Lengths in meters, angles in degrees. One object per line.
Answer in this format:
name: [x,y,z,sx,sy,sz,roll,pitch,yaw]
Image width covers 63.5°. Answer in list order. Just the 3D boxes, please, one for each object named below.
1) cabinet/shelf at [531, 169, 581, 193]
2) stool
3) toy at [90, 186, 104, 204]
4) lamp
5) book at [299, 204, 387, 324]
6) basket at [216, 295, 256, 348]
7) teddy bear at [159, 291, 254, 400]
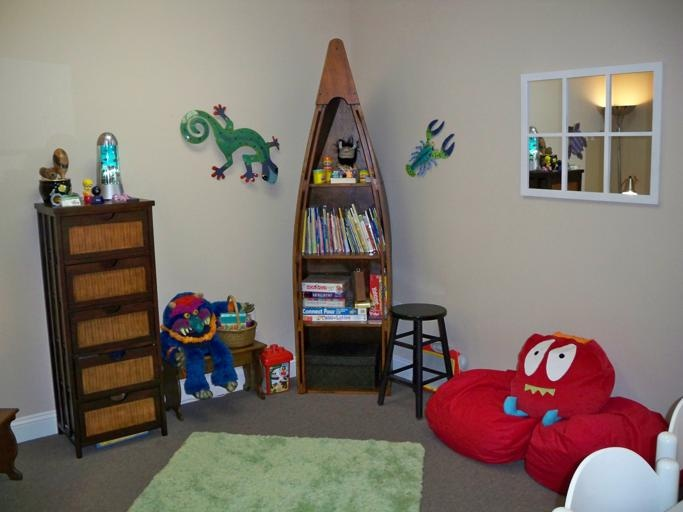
cabinet/shelf: [1.373,-0.492,3.517,0.330,0.128,0.105,7,15,28]
stool: [0.552,0.778,3.935,0.447,0.737,0.451,-6,-4,33]
toy: [-1.488,-0.373,3.349,0.065,0.092,0.176,-7,15,-23]
lamp: [1.639,-0.634,3.264,0.091,0.494,0.272,-4,13,-14]
book: [0.028,0.046,4.172,0.635,0.838,0.407,0,13,4]
basket: [-0.745,0.460,3.991,0.308,0.350,0.308,0,0,37]
teddy bear: [-0.954,0.601,3.763,0.525,0.405,0.687,-9,30,-24]
